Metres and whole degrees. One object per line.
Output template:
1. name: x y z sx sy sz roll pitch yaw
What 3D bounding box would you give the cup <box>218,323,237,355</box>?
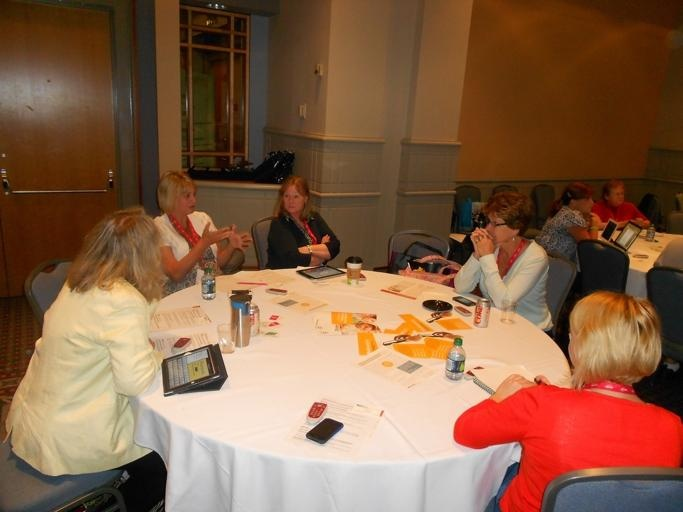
1. cup: -0.531 0.381 2.262 0.115 0.122 0.105 -2 9 0

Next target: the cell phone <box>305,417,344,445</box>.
1. cell phone: -0.062 0.641 1.813 0.076 0.041 0.135 11 16 37

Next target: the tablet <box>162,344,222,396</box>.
1. tablet: -0.615 0.478 2.058 0.183 0.049 0.191 -13 32 -16

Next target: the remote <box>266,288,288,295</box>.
1. remote: -0.382 0.211 2.950 0.087 0.017 0.047 2 10 7

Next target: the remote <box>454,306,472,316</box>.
1. remote: 0.692 0.312 2.829 0.041 0.018 0.074 -13 24 -20

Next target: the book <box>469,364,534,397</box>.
1. book: 0.674 0.524 2.164 0.149 0.041 0.149 -10 22 -31

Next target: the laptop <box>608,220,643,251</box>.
1. laptop: 2.700 -0.181 4.700 0.071 0.279 0.264 26 16 -20

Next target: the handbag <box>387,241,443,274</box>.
1. handbag: 0.537 -0.008 3.869 0.259 0.125 0.312 5 14 -12

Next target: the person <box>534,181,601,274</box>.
1. person: 2.300 -0.107 5.005 0.575 1.162 0.515 1 23 31

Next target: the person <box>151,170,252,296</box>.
1. person: -1.036 0.036 3.621 0.718 1.229 0.597 -4 15 -25
